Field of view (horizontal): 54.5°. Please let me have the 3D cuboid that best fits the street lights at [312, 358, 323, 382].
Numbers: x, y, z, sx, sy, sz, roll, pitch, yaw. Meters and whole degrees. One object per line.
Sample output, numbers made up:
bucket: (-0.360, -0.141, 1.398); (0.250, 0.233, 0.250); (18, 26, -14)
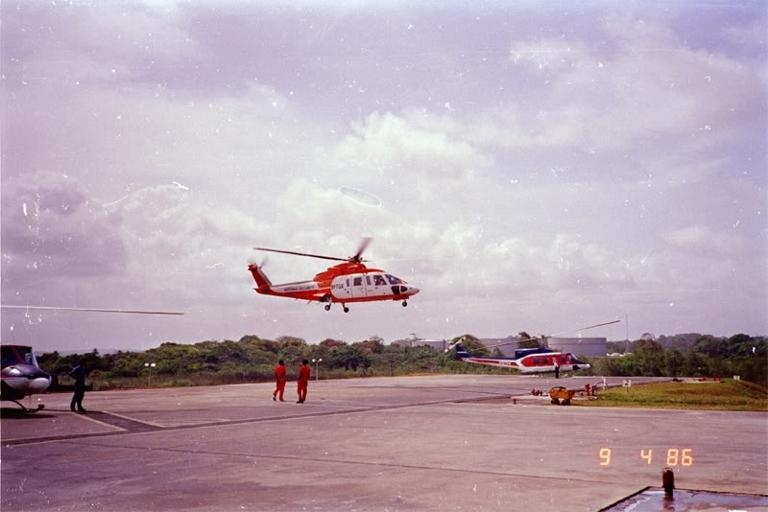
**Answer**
street lights: (-2.852, 4.862, 32.233); (0.443, 0.904, 1.210); (2, -8, -4)
